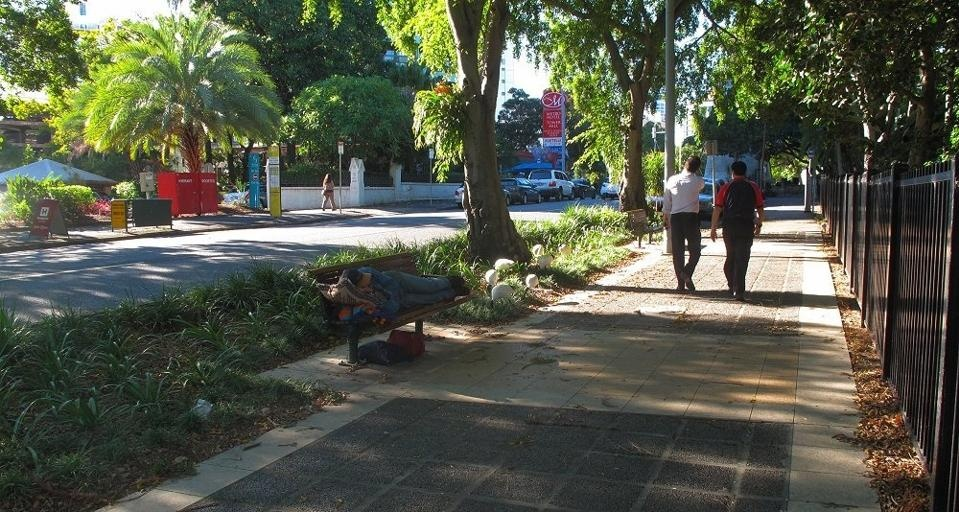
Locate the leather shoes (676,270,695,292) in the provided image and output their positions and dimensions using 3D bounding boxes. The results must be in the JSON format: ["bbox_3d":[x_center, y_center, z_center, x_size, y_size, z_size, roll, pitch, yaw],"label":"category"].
[{"bbox_3d":[4.376,0.538,15.140,0.257,0.511,0.237,-26,-6,27],"label":"leather shoes"}]

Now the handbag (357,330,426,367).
[{"bbox_3d":[-1.348,1.415,11.326,0.543,0.264,0.796,5,4,37],"label":"handbag"}]

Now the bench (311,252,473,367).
[{"bbox_3d":[-1.262,0.783,11.540,1.375,1.465,3.214,-1,6,21],"label":"bench"}]

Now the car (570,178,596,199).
[{"bbox_3d":[7.998,-5.273,55.751,1.143,0.826,2.738,3,9,28],"label":"car"}]

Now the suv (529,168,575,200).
[{"bbox_3d":[5.323,-5.266,51.267,1.687,1.310,3.878,2,9,30],"label":"suv"}]

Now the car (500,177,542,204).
[{"bbox_3d":[2.534,-4.162,45.691,1.289,0.817,2.913,2,9,30],"label":"car"}]
